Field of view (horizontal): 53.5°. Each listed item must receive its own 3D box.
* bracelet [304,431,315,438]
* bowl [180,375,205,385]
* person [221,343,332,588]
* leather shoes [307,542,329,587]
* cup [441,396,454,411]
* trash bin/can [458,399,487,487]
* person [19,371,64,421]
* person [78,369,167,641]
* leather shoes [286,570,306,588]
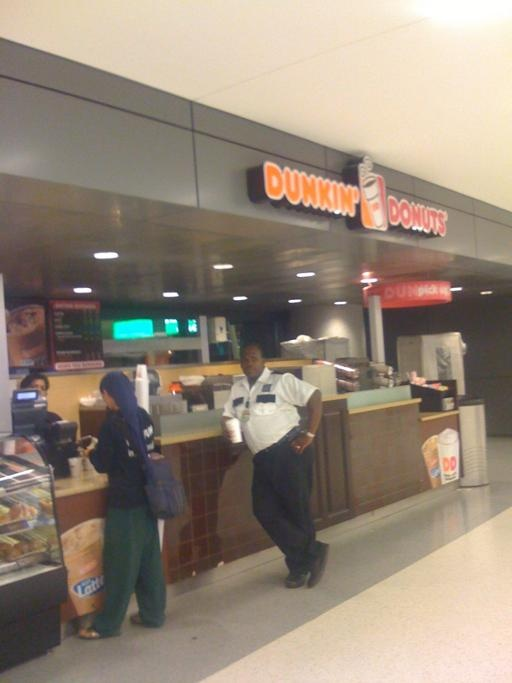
[{"bbox_3d":[0.333,0.591,3.194,0.042,0.028,0.057,11,-22,19],"label":"bracelet"},{"bbox_3d":[-0.563,0.343,4.393,0.139,0.062,0.106,-4,-6,33],"label":"bowl"},{"bbox_3d":[0.117,0.776,3.298,0.652,1.567,0.350,-4,-6,7],"label":"person"},{"bbox_3d":[0.385,1.397,3.164,0.109,0.282,0.097,10,-8,-3],"label":"leather shoes"},{"bbox_3d":[2.100,0.692,5.568,0.147,0.154,0.155,-1,-2,0],"label":"cup"},{"bbox_3d":[2.480,1.161,5.777,0.430,0.952,0.177,1,-8,-34],"label":"trash bin/can"},{"bbox_3d":[-1.807,0.432,4.206,0.280,0.446,1.777,0,-7,-25],"label":"person"},{"bbox_3d":[-0.718,0.845,2.688,0.428,1.365,0.279,-1,-7,-20],"label":"person"},{"bbox_3d":[0.241,1.506,3.181,0.054,0.065,0.155,3,7,23],"label":"leather shoes"}]
